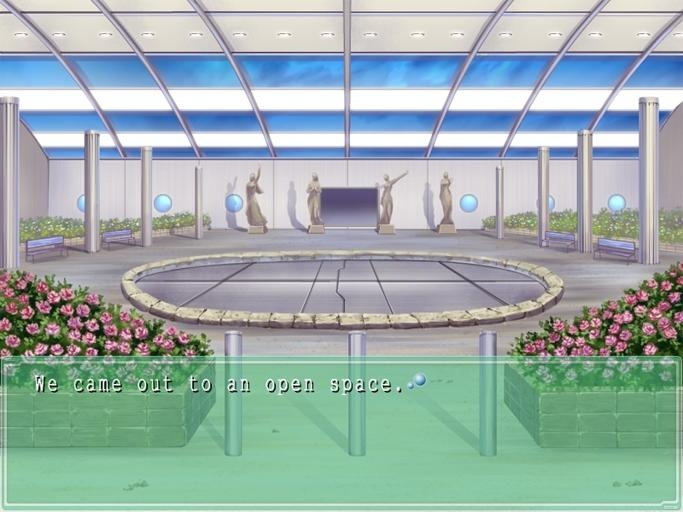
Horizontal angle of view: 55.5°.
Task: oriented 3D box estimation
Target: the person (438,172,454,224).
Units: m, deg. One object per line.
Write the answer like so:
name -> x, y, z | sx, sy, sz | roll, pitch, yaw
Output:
person -> 5.153, -2.800, 31.978 | 0.613, 2.582, 1.030 | 0, 8, 9
